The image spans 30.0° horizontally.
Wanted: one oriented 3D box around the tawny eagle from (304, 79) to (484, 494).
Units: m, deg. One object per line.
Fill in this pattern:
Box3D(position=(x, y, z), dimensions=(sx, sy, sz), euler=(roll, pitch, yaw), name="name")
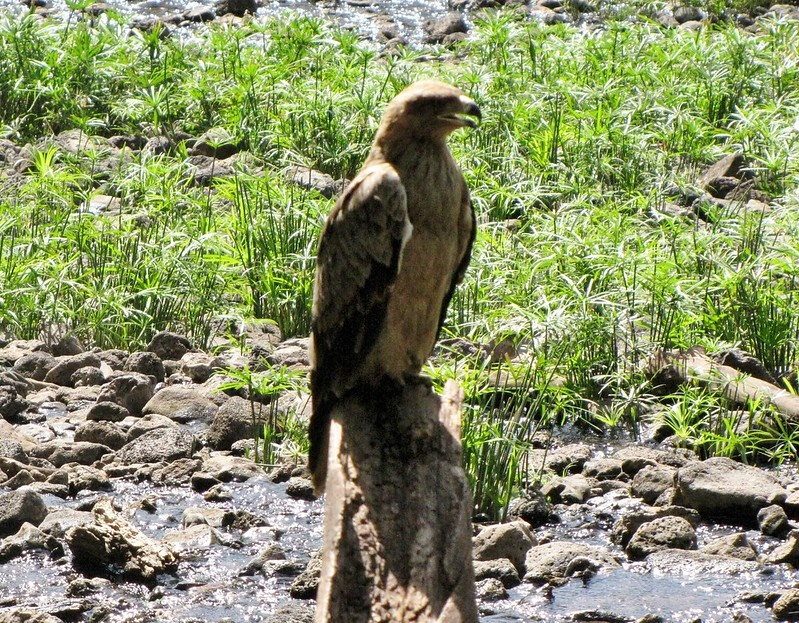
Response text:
Box3D(position=(-0.062, -0.124, 8.462), dimensions=(0.906, 2.303, 0.646), euler=(0, 15, -8), name="tawny eagle")
